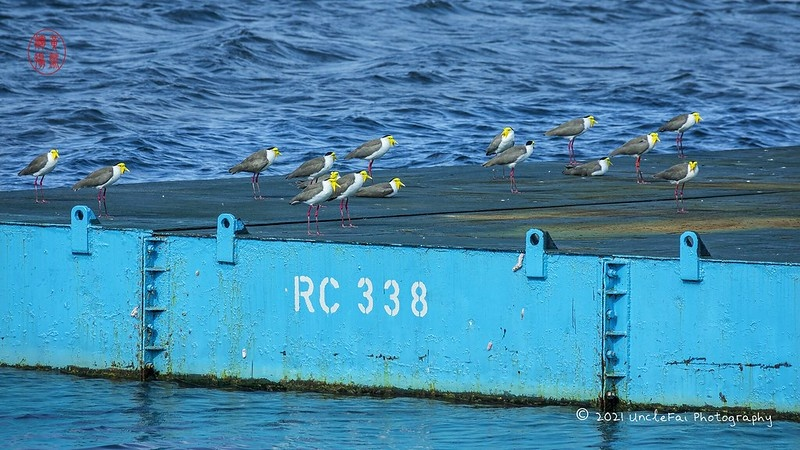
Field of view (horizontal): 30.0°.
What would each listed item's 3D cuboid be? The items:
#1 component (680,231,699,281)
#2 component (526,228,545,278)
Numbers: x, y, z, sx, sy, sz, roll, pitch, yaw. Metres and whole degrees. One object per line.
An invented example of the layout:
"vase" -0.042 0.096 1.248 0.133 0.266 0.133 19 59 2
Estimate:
"component" 6.314 0.681 32.597 0.436 1.045 0.366 -2 -11 8
"component" 2.987 0.658 33.227 0.479 1.072 0.325 -1 -11 4
